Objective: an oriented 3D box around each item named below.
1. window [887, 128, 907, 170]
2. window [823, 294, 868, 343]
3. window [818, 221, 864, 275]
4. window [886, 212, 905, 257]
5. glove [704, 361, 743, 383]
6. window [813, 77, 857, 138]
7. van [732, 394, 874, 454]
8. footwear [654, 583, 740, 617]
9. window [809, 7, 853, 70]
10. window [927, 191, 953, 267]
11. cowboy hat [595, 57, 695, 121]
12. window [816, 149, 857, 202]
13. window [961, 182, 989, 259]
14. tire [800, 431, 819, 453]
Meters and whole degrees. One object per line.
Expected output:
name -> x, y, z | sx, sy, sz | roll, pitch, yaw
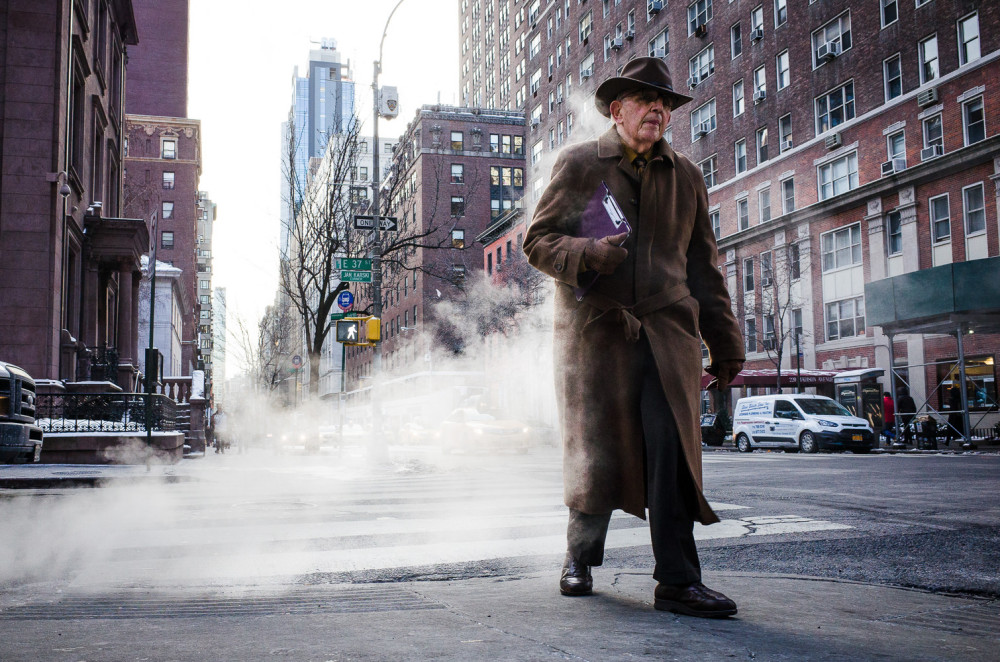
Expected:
window -> 15.462, -7.057, 36.480 | 0.208, 2.104, 1.100 | 14, -26, -12
window -> 14.237, -0.522, 38.482 | 0.131, 1.404, 1.782 | 5, -11, -18
window -> 14.356, -3.510, 39.290 | 0.136, 1.669, 2.094 | 3, -10, -20
window -> 15.463, -3.834, 36.575 | 0.132, 1.553, 0.617 | -1, -3, -24
glove -> 1.839, 0.334, 7.741 | 0.174, 0.094, 0.251 | 12, -32, -20
window -> 14.251, -9.426, 39.659 | 0.185, 2.306, 2.570 | 6, -13, -21
van -> 9.311, 2.892, 28.724 | 1.898, 1.513, 3.643 | 5, -13, -26
footwear -> 1.484, 2.027, 7.108 | 0.534, 0.266, 0.260 | -1, -4, 12
window -> 14.133, -12.373, 39.807 | 0.353, 1.973, 2.561 | 17, -30, -20
window -> 16.195, -3.756, 34.510 | 0.341, 2.530, 0.867 | 1, -5, -24
cowboy hat -> 1.220, -2.086, 7.695 | 0.769, 0.331, 0.693 | 15, 13, 25
window -> 14.232, -6.536, 39.475 | 0.157, 2.060, 2.189 | 6, -11, -19
window -> 16.837, -3.909, 33.247 | 0.310, 2.603, 0.977 | 0, -5, -12
tire -> 9.126, 3.213, 27.588 | 0.172, 0.595, 0.552 | 6, -12, -19
